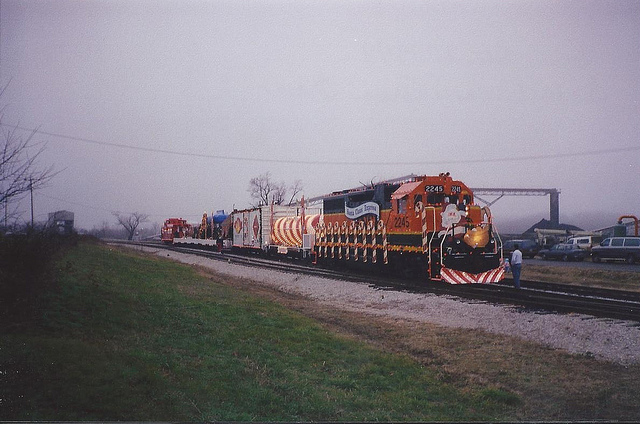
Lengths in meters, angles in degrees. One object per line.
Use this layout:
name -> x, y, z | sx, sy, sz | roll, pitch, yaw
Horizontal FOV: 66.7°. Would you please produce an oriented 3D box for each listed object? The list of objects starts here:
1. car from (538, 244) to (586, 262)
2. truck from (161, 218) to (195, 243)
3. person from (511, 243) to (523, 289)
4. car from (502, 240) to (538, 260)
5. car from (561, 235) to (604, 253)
car -> 18.106, 2.998, 36.202 | 0.979, 0.749, 2.228 | 0, 0, -24
truck -> -15.441, 2.068, 53.617 | 2.849, 2.787, 4.420 | 1, -4, -23
person -> 8.257, 2.234, 20.411 | 0.402, 1.694, 2.561 | -1, 2, 21
car -> 15.100, 2.817, 36.625 | 2.995, 1.681, 2.188 | -1, 1, -8
car -> 20.207, 2.275, 37.250 | 1.755, 1.766, 3.162 | 1, 3, -13
